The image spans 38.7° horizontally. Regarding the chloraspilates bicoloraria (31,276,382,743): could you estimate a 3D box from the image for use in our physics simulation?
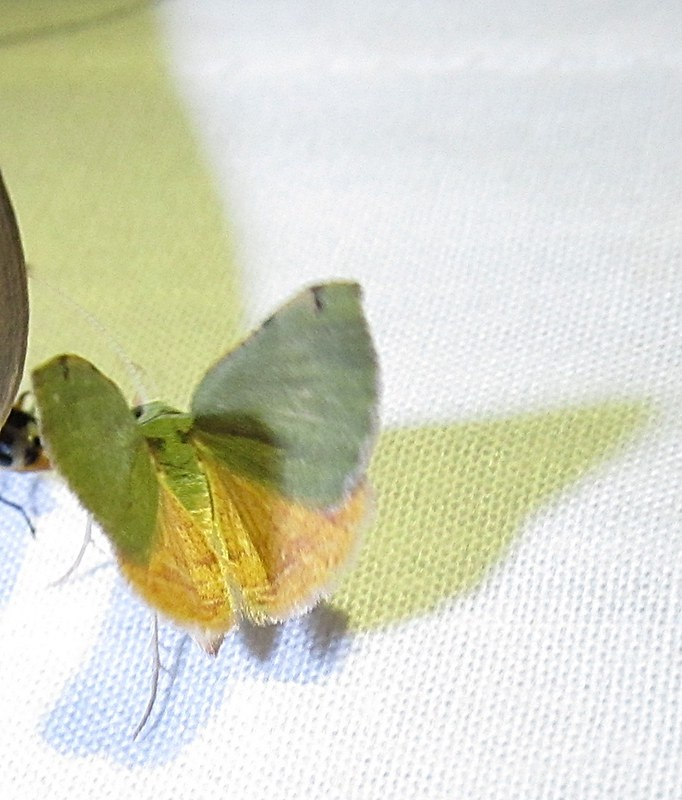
[{"bbox_3d":[-0.048,0.034,0.408,0.133,0.174,0.068,-3,46,3],"label":"chloraspilates bicoloraria"}]
